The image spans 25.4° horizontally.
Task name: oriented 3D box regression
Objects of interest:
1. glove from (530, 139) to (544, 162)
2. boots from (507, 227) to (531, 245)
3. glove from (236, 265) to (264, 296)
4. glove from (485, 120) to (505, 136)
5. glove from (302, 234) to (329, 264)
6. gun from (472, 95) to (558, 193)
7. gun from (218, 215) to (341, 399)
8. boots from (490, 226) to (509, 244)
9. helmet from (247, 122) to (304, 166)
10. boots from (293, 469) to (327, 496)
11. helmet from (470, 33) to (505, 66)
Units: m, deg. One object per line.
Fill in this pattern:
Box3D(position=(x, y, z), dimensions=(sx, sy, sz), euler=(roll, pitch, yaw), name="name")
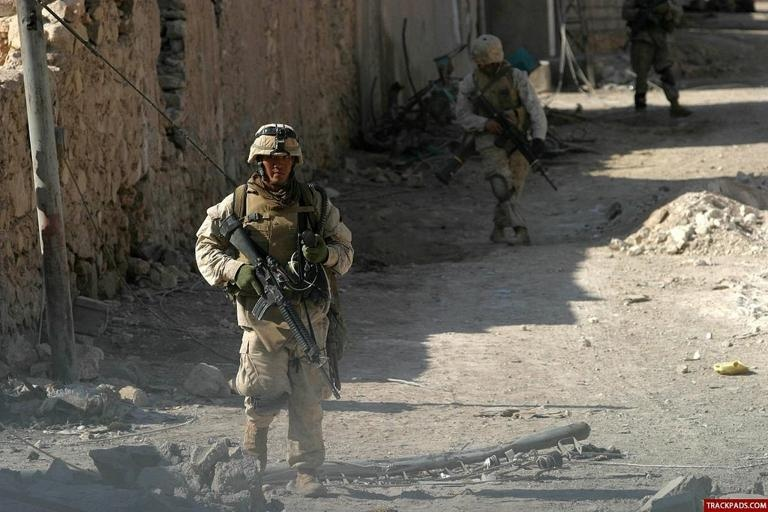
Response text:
Box3D(position=(1.807, -1.262, 20.443), dimensions=(0.222, 0.282, 0.078), euler=(-6, 16, -1), name="glove")
Box3D(position=(1.615, -0.268, 20.778), dimensions=(0.290, 0.262, 0.203), euler=(-3, 17, 3), name="boots")
Box3D(position=(-1.245, 0.231, 15.620), dimensions=(0.220, 0.286, 0.110), euler=(-18, 29, 42), name="glove")
Box3D(position=(1.280, -1.518, 20.168), dimensions=(0.344, 0.176, 0.146), euler=(4, 3, 9), name="glove")
Box3D(position=(-0.627, -0.065, 15.575), dimensions=(0.216, 0.281, 0.107), euler=(-36, 4, -31), name="glove")
Box3D(position=(1.558, -1.346, 20.969), dimensions=(0.284, 1.647, 0.496), euler=(-53, 18, -28), name="gun")
Box3D(position=(-0.918, 0.440, 15.711), dimensions=(0.779, 1.892, 0.267), euler=(-37, -7, 32), name="gun")
Box3D(position=(1.374, -0.271, 20.858), dimensions=(0.239, 0.269, 0.175), euler=(-3, 17, -4), name="boots")
Box3D(position=(-0.996, -1.034, 15.821), dimensions=(0.527, 0.333, 0.516), euler=(1, 4, 1), name="helmet")
Box3D(position=(-0.709, 2.117, 15.744), dimensions=(0.344, 0.229, 0.151), euler=(1, 10, 28), name="boots")
Box3D(position=(1.248, -2.484, 20.264), dimensions=(0.428, 0.328, 0.319), euler=(-28, 40, -22), name="helmet")
